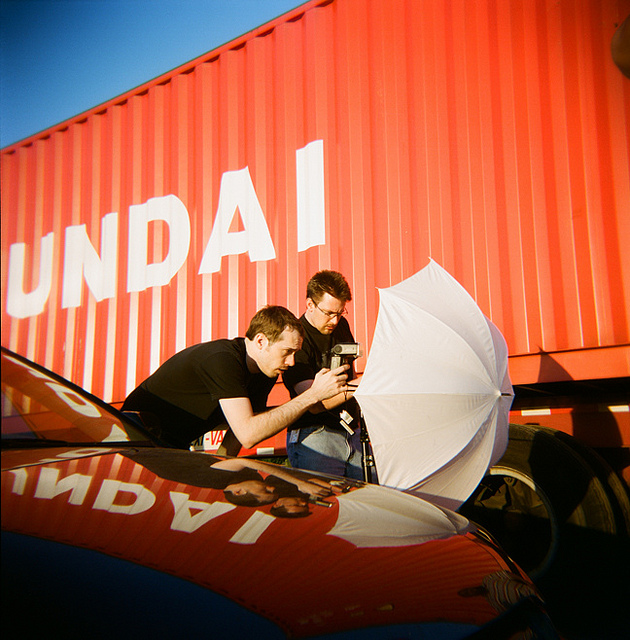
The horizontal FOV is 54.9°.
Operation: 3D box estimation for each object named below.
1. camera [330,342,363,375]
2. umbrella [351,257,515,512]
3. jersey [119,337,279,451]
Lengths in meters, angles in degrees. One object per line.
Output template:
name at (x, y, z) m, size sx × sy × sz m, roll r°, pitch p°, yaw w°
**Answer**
camera at (0.171, 0.190, 3.231) m, size 0.159 × 0.248 × 0.115 m, roll 1°, pitch -4°, yaw 11°
umbrella at (0.457, 0.275, 2.833) m, size 0.271 × 0.994 × 0.873 m, roll -4°, pitch 2°, yaw 38°
jersey at (-0.577, 0.370, 2.966) m, size 0.732 × 0.569 × 0.510 m, roll 7°, pitch 10°, yaw -5°
